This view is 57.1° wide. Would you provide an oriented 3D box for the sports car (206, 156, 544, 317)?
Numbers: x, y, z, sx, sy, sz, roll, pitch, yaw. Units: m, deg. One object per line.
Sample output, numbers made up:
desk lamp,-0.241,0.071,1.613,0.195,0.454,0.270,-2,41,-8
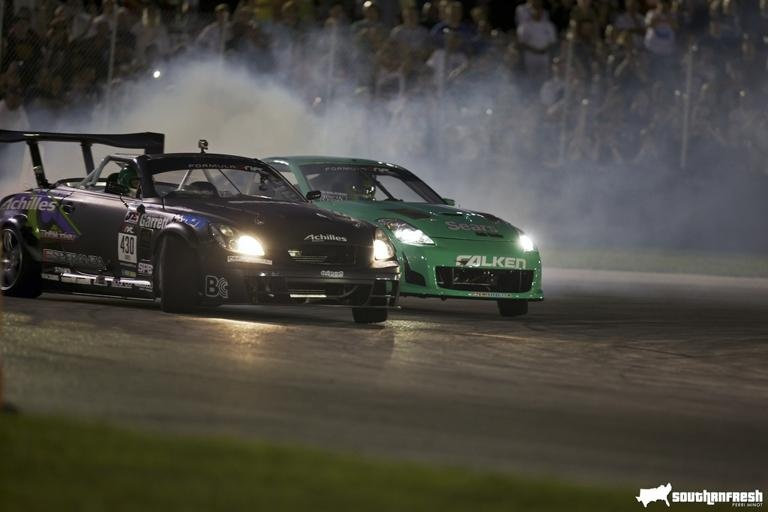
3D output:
sports car,-0.060,-0.368,9.278,2.041,1.330,3.787,5,0,-38
